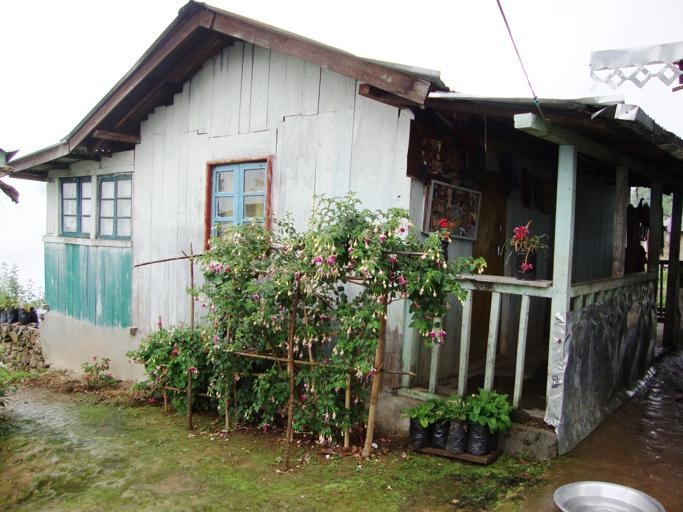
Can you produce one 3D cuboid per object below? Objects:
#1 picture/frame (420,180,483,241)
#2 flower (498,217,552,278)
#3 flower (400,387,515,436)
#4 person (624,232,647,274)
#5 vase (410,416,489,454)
[{"bbox_3d":[1.525,-0.598,7.728,0.015,0.697,0.901,-2,12,-40],"label":"picture/frame"},{"bbox_3d":[2.228,-0.086,6.891,0.472,0.724,0.522,-1,0,-5],"label":"flower"},{"bbox_3d":[1.387,1.776,6.556,0.798,0.316,0.650,-12,22,-3],"label":"flower"},{"bbox_3d":[5.194,-0.026,10.069,0.288,0.605,0.818,2,7,32],"label":"person"},{"bbox_3d":[1.260,2.058,6.550,0.686,0.307,0.387,2,2,25],"label":"vase"}]
